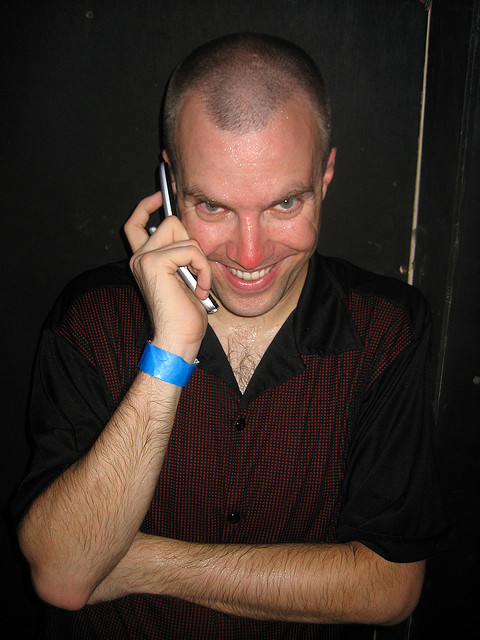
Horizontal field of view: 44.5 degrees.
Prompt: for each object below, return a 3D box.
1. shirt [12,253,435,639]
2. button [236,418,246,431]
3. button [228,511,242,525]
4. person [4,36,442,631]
[{"bbox_3d":[-0.030,0.358,1.638,1.059,1.259,0.710,3,7,-2],"label":"shirt"},{"bbox_3d":[0.002,0.299,1.675,0.029,0.031,0.007,6,-2,-15],"label":"button"},{"bbox_3d":[-0.015,0.562,1.669,0.035,0.035,0.037,-5,-4,20],"label":"button"},{"bbox_3d":[-0.009,0.010,1.612,1.163,1.470,0.626,3,16,-2],"label":"person"}]
